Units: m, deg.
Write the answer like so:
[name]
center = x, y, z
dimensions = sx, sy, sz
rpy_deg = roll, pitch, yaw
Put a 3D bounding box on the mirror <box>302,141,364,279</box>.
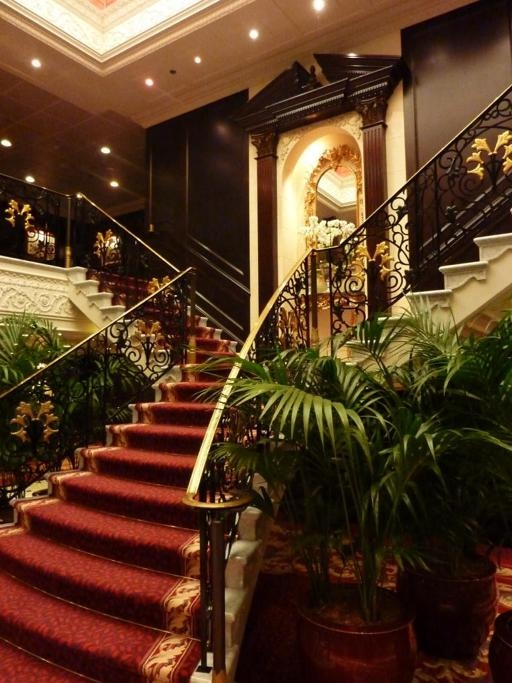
[mirror]
center = 1.000, -1.840, 7.074
dimensions = 0.810, 1.771, 0.082
rpy_deg = -5, -35, 17
